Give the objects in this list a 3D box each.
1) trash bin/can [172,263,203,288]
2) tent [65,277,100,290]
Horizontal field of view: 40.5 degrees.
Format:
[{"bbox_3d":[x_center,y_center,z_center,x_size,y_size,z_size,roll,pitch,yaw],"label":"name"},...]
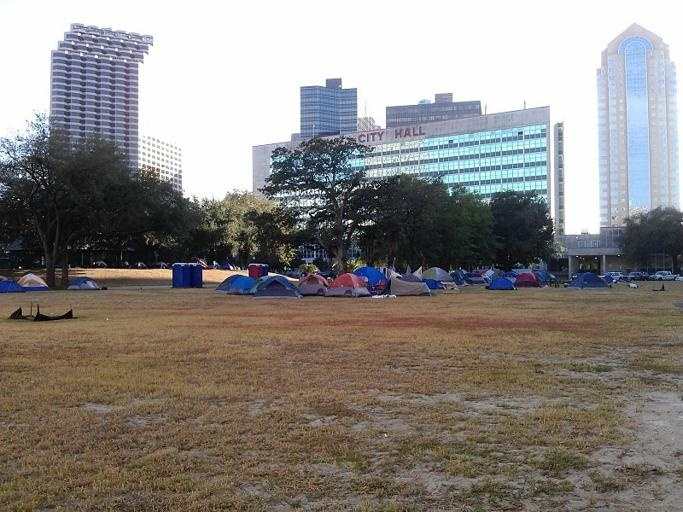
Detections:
[{"bbox_3d":[-10.545,1.417,63.635,1.934,1.557,2.096,-2,10,-15],"label":"trash bin/can"},{"bbox_3d":[-16.057,1.741,57.646,1.655,0.688,2.210,-3,10,-17],"label":"tent"}]
